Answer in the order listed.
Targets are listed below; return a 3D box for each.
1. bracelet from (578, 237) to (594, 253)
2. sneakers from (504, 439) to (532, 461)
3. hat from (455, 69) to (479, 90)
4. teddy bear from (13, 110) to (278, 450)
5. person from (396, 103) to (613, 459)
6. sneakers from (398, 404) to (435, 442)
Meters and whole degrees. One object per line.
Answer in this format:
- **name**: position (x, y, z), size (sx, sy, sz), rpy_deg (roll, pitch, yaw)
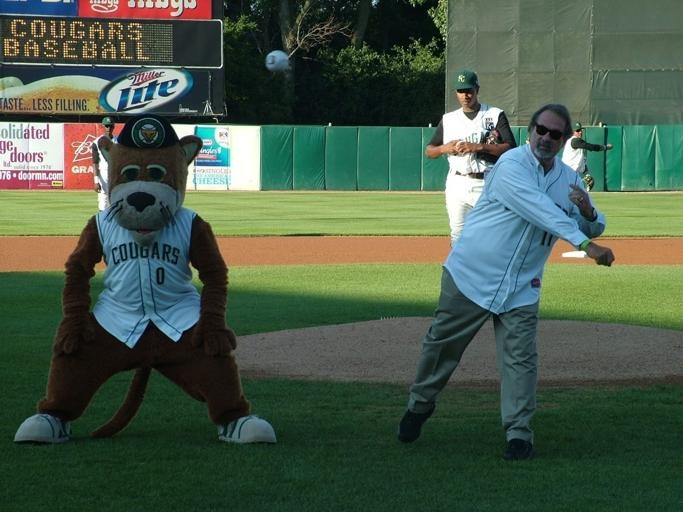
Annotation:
- **bracelet**: position (1.460, -0.070, 6.096), size (0.048, 0.057, 0.076), rpy_deg (15, -35, -20)
- **sneakers**: position (1.076, 1.193, 6.232), size (0.097, 0.080, 0.188), rpy_deg (1, -2, 23)
- **hat**: position (1.167, -1.650, 9.515), size (0.203, 0.180, 0.283), rpy_deg (0, 10, 7)
- **teddy bear**: position (-1.250, 0.153, 6.500), size (1.327, 2.055, 0.613), rpy_deg (-2, 9, -7)
- **person**: position (1.028, 0.125, 6.425), size (1.280, 2.138, 0.776), rpy_deg (0, 9, 4)
- **sneakers**: position (0.457, 1.074, 6.523), size (0.151, 0.271, 0.120), rpy_deg (29, 2, 42)
